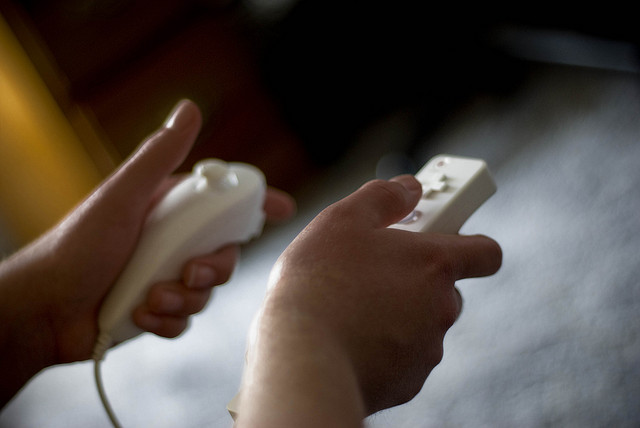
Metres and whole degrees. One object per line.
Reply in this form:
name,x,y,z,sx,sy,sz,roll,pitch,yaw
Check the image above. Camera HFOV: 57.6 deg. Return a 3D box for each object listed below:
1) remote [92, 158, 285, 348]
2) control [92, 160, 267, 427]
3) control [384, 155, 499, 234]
remote,-0.176,0.049,0.837,0.139,0.084,0.336,34,93,12
control,-0.230,0.078,0.851,0.365,0.204,0.084,-58,27,-10
control,0.176,-0.027,0.795,0.087,0.051,0.167,31,70,39
